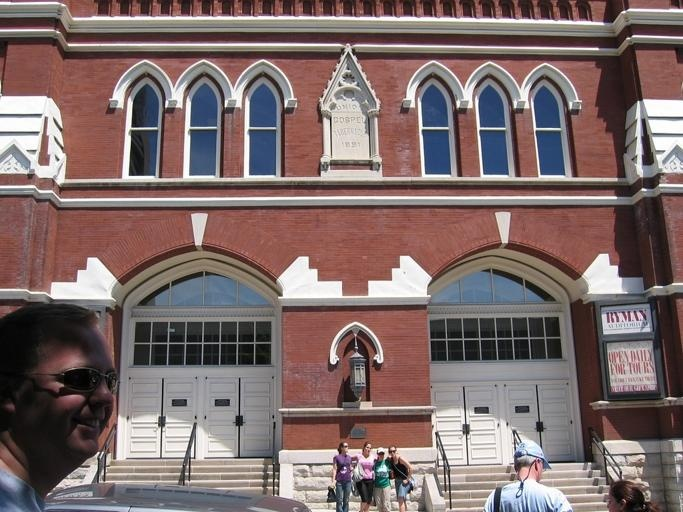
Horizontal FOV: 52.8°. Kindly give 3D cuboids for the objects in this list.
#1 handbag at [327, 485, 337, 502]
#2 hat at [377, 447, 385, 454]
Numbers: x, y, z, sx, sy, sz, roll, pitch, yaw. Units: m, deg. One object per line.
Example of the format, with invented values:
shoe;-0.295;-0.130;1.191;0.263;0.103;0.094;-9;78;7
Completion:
handbag;-0.218;5.408;15.799;0.181;0.318;0.383;0;-16;-3
hat;0.917;4.423;15.825;0.149;0.123;0.235;2;-29;-1
